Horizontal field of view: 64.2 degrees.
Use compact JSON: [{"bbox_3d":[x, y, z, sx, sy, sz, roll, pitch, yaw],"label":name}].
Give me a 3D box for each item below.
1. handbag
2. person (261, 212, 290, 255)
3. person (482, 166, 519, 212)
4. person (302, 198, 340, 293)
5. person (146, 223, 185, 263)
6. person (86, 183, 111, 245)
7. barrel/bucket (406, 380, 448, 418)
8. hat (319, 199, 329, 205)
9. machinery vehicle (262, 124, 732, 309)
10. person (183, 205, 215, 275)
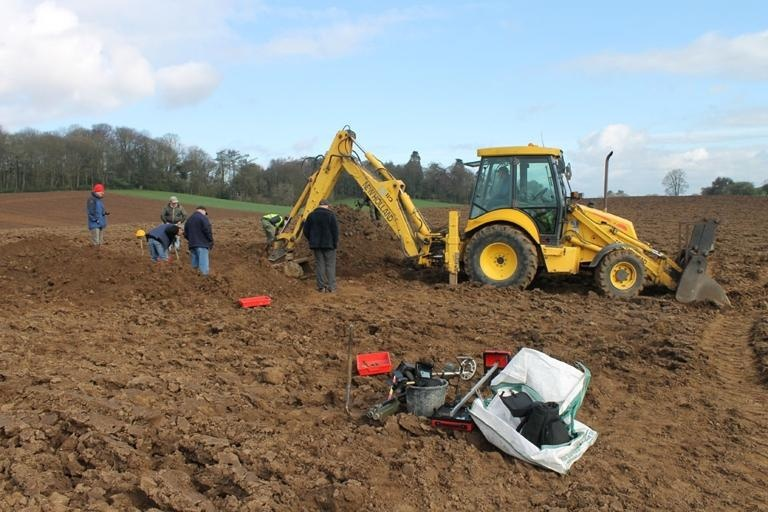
[{"bbox_3d":[1.782,1.989,7.385,0.716,0.688,0.546,12,1,23],"label":"handbag"},{"bbox_3d":[-2.621,-0.595,14.752,0.535,1.134,0.405,11,29,3],"label":"person"},{"bbox_3d":[2.274,-1.355,12.327,0.781,1.386,0.650,3,8,13],"label":"person"},{"bbox_3d":[-1.256,-0.114,12.224,0.631,1.592,0.301,1,10,-5],"label":"person"},{"bbox_3d":[-4.675,-0.242,13.114,0.466,1.009,0.777,-8,-15,44],"label":"person"},{"bbox_3d":[-6.646,-0.937,14.263,0.375,1.467,1.120,-3,11,-25],"label":"person"},{"bbox_3d":[0.537,1.794,7.738,0.471,0.298,0.465,1,-4,0],"label":"barrel/bucket"},{"bbox_3d":[-1.224,-1.105,12.574,0.140,0.073,0.186,2,5,4],"label":"hat"},{"bbox_3d":[2.965,-0.749,13.417,11.193,3.649,3.511,0,5,5],"label":"machinery vehicle"},{"bbox_3d":[-3.742,-0.304,12.386,0.539,1.305,1.366,-2,10,-17],"label":"person"}]
